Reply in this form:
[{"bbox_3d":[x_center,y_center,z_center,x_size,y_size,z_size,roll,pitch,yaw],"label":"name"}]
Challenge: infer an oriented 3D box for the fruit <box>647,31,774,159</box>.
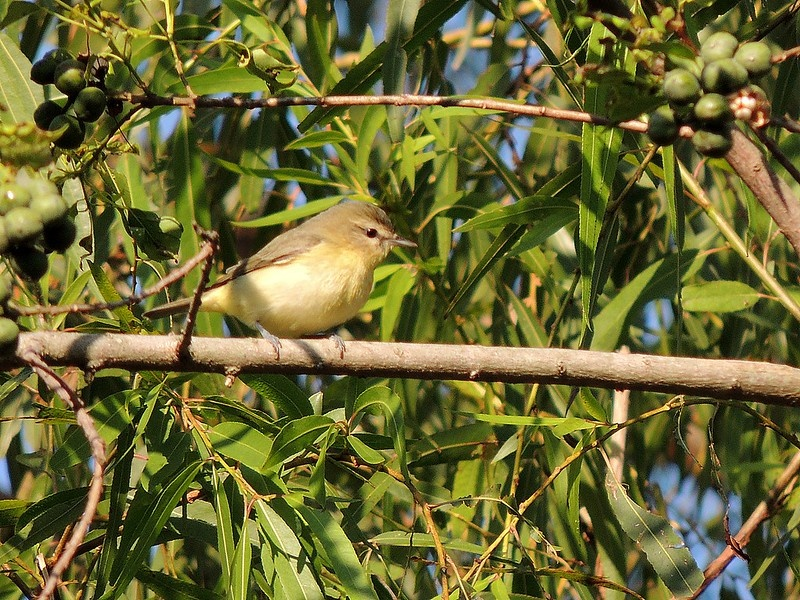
[{"bbox_3d":[1.030,-0.671,3.702,0.375,0.419,0.164,-9,22,-13],"label":"fruit"}]
